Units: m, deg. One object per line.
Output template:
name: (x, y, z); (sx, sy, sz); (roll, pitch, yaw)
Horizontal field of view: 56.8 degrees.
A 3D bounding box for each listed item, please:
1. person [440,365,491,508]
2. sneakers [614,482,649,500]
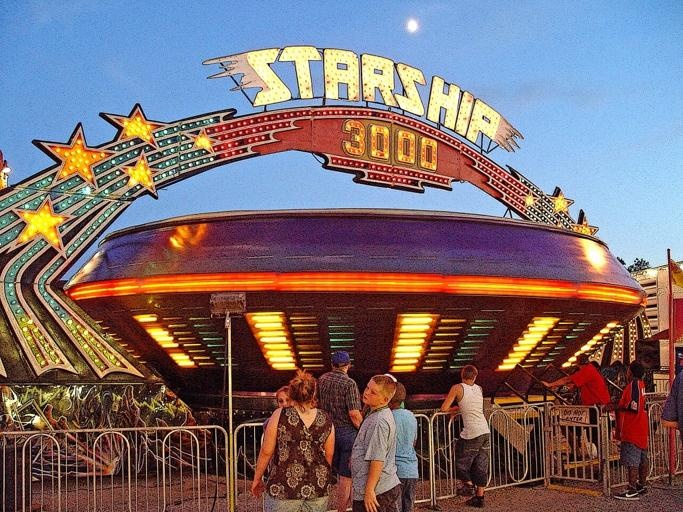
person: (1.984, 2.858, 9.892); (0.627, 2.264, 1.059); (-3, -2, 12)
sneakers: (4.856, 3.874, 10.362); (0.669, 0.276, 0.223); (2, -10, -8)
